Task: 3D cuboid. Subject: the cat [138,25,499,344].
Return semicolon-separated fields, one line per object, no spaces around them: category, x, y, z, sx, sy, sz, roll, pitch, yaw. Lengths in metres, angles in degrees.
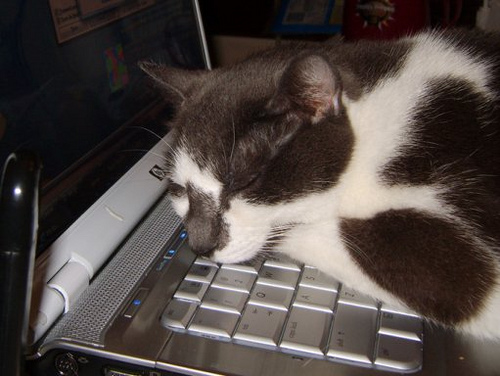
cat;0.133;-0.074;0.654;0.529;0.291;0.379;12;46;16
